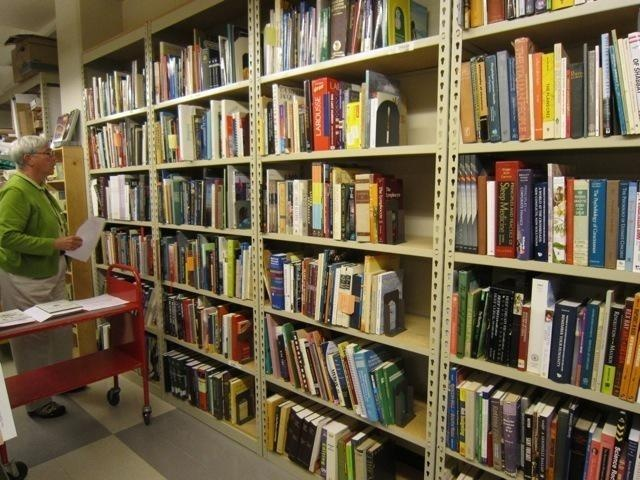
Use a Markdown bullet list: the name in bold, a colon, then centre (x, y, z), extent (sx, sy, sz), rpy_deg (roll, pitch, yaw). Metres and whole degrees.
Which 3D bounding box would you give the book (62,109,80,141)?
- **book**: centre (-2.121, -0.979, 4.367), extent (0.060, 0.249, 0.248), rpy_deg (9, -5, -36)
